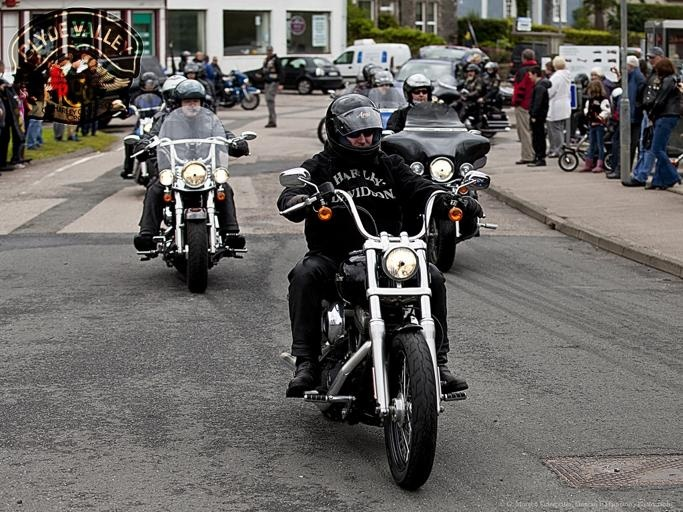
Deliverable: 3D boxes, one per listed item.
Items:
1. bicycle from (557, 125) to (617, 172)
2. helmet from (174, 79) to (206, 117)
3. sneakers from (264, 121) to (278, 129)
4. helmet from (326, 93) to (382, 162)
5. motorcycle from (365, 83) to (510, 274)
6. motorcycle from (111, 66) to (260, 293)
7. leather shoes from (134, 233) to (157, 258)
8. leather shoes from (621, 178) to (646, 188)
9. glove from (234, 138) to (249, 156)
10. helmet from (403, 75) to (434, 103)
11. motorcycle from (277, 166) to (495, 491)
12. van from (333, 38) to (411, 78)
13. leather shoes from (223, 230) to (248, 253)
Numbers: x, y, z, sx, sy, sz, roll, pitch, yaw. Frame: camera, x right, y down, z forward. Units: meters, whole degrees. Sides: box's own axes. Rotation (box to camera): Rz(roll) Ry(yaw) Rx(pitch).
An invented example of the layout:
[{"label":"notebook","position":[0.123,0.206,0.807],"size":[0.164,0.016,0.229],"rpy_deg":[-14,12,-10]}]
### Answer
[{"label":"bicycle","position":[5.065,-2.173,18.612],"size":[1.489,0.891,0.698],"rpy_deg":[-3,10,-23]},{"label":"helmet","position":[-1.755,-1.835,10.692],"size":[0.376,0.434,0.470],"rpy_deg":[-6,19,-23]},{"label":"sneakers","position":[-2.054,-3.936,27.713],"size":[0.442,0.283,0.148],"rpy_deg":[6,10,13]},{"label":"helmet","position":[0.106,-0.908,6.354],"size":[0.414,0.402,0.513],"rpy_deg":[-11,24,-21]},{"label":"motorcycle","position":[1.283,-1.210,11.515],"size":[1.181,1.397,2.482],"rpy_deg":[1,12,-7]},{"label":"motorcycle","position":[-1.708,-0.814,10.339],"size":[1.283,2.228,1.873],"rpy_deg":[-2,13,-12]},{"label":"leather shoes","position":[-2.164,-0.127,10.172],"size":[0.174,0.165,0.296],"rpy_deg":[-2,5,-29]},{"label":"leather shoes","position":[5.105,-1.294,16.145],"size":[0.446,0.166,0.147],"rpy_deg":[4,9,1]},{"label":"glove","position":[-1.102,-1.220,10.277],"size":[0.132,0.170,0.169],"rpy_deg":[1,-5,-11]},{"label":"helmet","position":[1.111,-2.328,12.865],"size":[0.403,0.395,0.455],"rpy_deg":[-4,10,-21]},{"label":"motorcycle","position":[0.477,0.502,5.886],"size":[1.155,1.385,2.217],"rpy_deg":[0,4,-12]},{"label":"van","position":[1.335,-9.514,45.661],"size":[4.190,1.926,1.899],"rpy_deg":[8,12,35]},{"label":"leather shoes","position":[-1.172,-0.163,10.323],"size":[0.227,0.155,0.228],"rpy_deg":[1,0,-1]}]
